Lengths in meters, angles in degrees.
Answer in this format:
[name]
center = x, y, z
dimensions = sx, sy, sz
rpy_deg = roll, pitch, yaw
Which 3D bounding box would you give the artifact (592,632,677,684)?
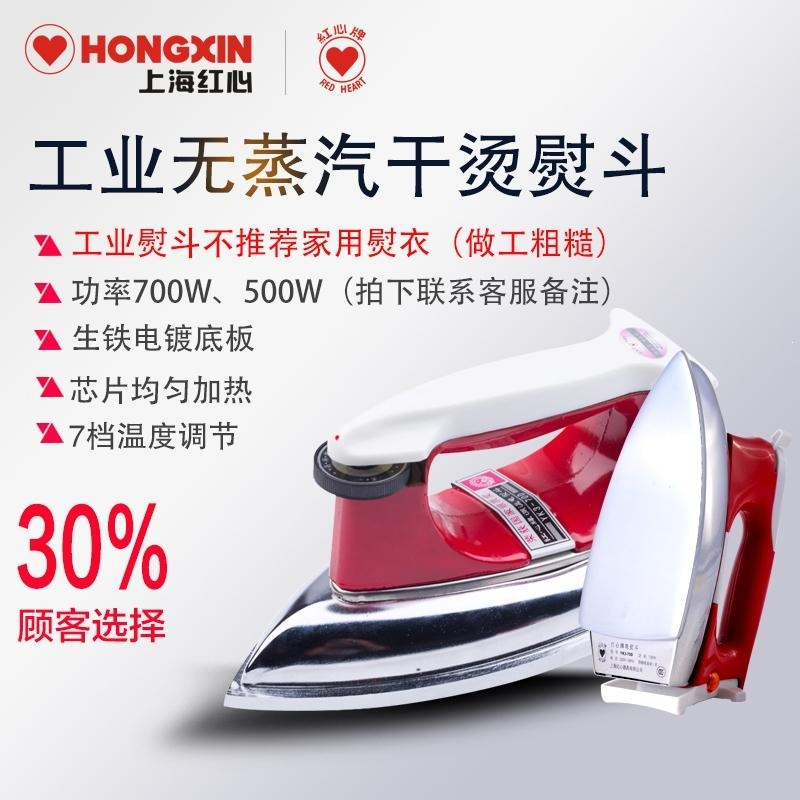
[artifact]
center = 0.232, 0.255, 0.912
dimensions = 0.071, 0.046, 0.055
rpy_deg = 6, -7, 1
